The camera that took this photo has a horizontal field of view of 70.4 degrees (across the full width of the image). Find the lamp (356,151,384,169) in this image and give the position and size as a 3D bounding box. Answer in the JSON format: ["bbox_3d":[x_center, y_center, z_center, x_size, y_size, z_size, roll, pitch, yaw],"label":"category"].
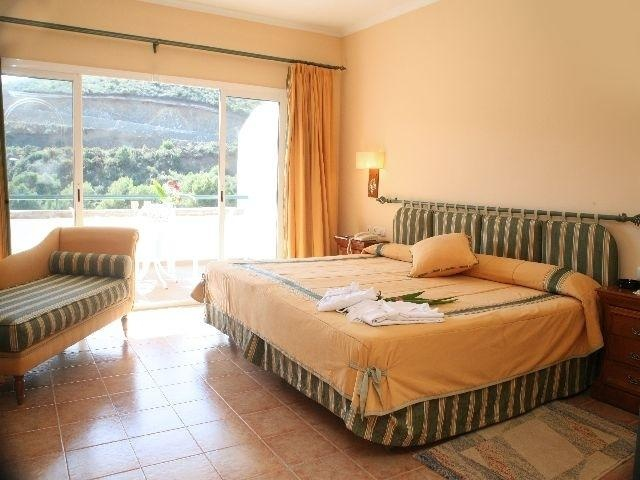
[{"bbox_3d":[0.661,-1.041,5.882,0.269,0.155,0.257,0,11,-2],"label":"lamp"}]

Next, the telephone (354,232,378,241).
[{"bbox_3d":[0.613,-0.050,5.879,0.175,0.057,0.174,-6,6,-24],"label":"telephone"}]

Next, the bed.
[{"bbox_3d":[1.006,0.598,3.488,2.236,0.903,2.199,-3,10,-27],"label":"bed"}]
